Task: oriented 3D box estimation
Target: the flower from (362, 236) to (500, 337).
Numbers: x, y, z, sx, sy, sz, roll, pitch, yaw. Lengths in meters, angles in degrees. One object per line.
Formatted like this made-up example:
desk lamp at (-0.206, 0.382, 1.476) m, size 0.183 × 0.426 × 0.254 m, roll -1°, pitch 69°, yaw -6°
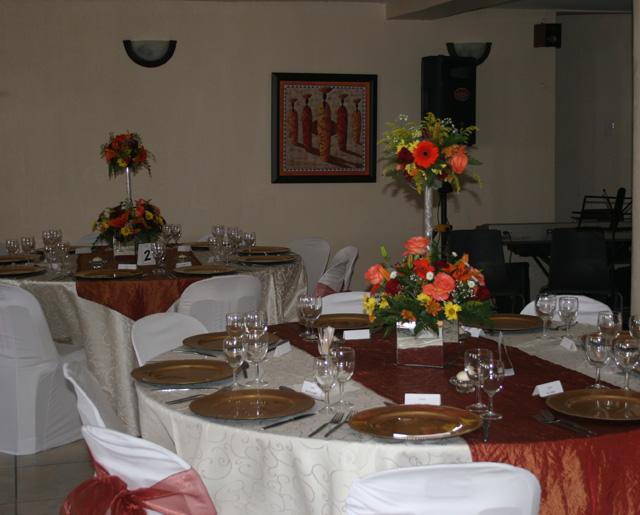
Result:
flower at (0.410, 0.109, 2.395) m, size 0.391 × 0.343 × 0.390 m, roll -2°, pitch 3°, yaw -31°

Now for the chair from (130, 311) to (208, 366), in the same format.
chair at (-0.716, 0.314, 2.881) m, size 0.255 × 0.377 × 0.260 m, roll -5°, pitch 6°, yaw -32°

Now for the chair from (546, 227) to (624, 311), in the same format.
chair at (2.280, 0.102, 5.433) m, size 0.602 × 1.152 × 0.689 m, roll 0°, pitch -3°, yaw 14°

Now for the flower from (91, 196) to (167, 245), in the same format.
flower at (-1.435, -0.271, 4.661) m, size 0.472 × 0.318 × 0.525 m, roll -4°, pitch 8°, yaw 17°

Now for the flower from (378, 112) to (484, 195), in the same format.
flower at (0.472, -0.401, 2.636) m, size 0.305 × 0.293 × 0.346 m, roll -2°, pitch 32°, yaw 29°

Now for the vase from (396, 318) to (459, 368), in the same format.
vase at (0.387, 0.355, 2.411) m, size 0.184 × 0.108 × 0.203 m, roll 9°, pitch 4°, yaw 23°

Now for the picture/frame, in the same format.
picture/frame at (-0.005, -1.467, 6.819) m, size 1.132 × 1.212 × 0.086 m, roll 0°, pitch 8°, yaw 1°

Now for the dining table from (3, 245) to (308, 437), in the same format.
dining table at (-1.132, 0.412, 4.243) m, size 1.085 × 0.812 × 1.330 m, roll -1°, pitch 5°, yaw -7°
